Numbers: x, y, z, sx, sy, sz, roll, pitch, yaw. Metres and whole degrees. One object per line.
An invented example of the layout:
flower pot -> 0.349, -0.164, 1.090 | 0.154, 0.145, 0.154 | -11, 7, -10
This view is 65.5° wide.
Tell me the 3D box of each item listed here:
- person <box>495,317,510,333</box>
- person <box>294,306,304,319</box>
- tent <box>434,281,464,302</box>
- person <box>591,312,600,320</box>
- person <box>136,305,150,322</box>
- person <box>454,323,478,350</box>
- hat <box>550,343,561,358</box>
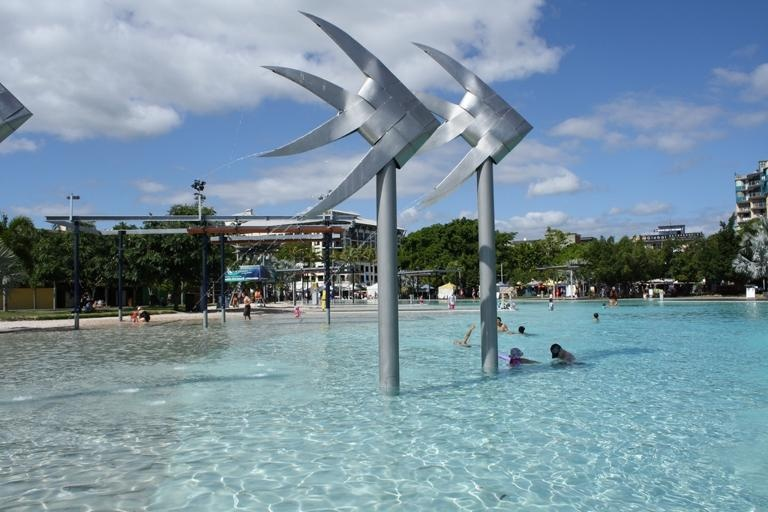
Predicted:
person -> 5.523, 3.246, 27.901 | 0.477, 0.631, 1.071 | 0, 0, 6
person -> -6.390, 4.195, 44.642 | 0.868, 1.052, 2.067 | -3, -5, -9
tent -> 9.425, 5.037, 87.014 | 3.107, 2.530, 3.074 | 0, -9, 2
person -> 13.447, 3.832, 38.117 | 0.361, 0.444, 1.113 | -2, -22, 14
person -> -15.640, 3.787, 38.781 | 0.663, 0.863, 1.594 | 0, 0, -26
person -> 3.540, 3.500, 25.999 | 0.894, 0.316, 0.966 | -41, 13, 32
hat -> 5.509, 2.984, 19.068 | 0.414, 0.480, 0.188 | -14, -34, 42
